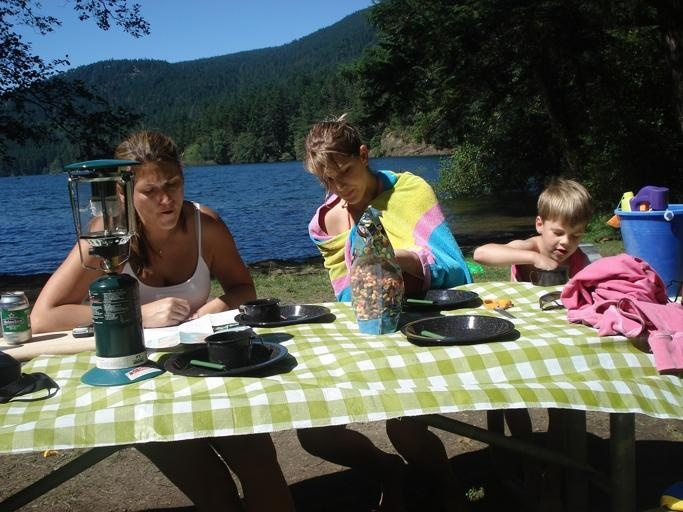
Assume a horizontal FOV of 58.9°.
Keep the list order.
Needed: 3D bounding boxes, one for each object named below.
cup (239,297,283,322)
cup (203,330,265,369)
[{"bbox_3d":[-0.385,0.256,2.784,0.140,0.095,0.110,-9,7,7],"label":"cup"},{"bbox_3d":[-0.397,0.337,2.221,0.154,0.102,0.119,-4,2,-17],"label":"cup"}]
